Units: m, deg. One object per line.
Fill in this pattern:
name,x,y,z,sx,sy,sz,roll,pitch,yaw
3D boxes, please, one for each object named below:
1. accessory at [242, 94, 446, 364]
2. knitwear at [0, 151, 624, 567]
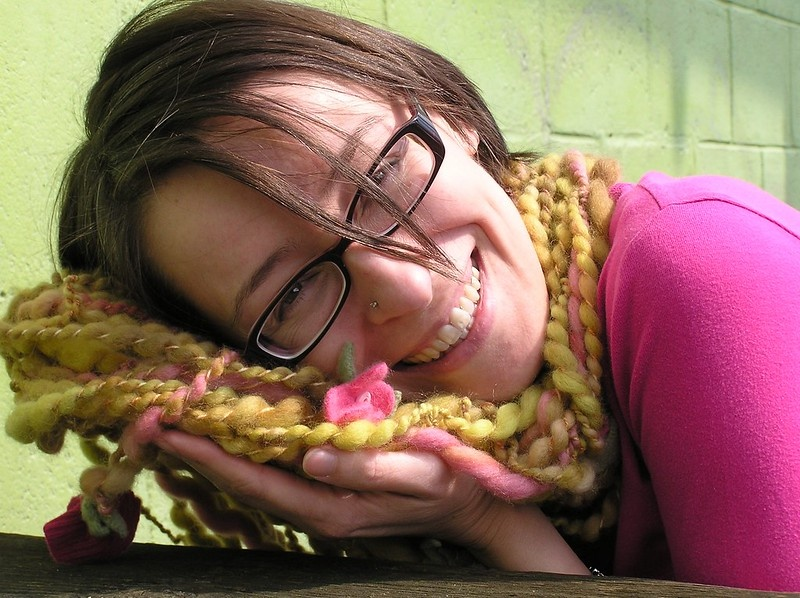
accessory,-0.113,-0.107,1.627,0.120,0.428,0.423,42,103,-6
knitwear,-0.156,0.095,1.717,1.011,0.691,0.397,5,49,0
